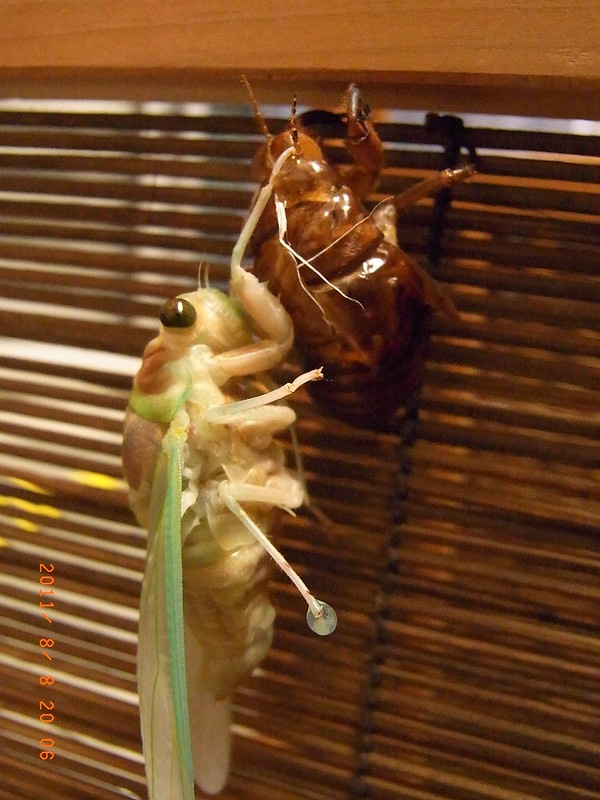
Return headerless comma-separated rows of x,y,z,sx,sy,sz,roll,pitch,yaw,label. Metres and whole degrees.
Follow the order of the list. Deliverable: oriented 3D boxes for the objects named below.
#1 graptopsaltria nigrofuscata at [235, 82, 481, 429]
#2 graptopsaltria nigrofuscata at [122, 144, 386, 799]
0.052,-0.097,0.626,0.078,0.205,0.229,-15,9,-43,graptopsaltria nigrofuscata
-0.028,0.043,0.625,0.181,0.410,0.173,0,10,7,graptopsaltria nigrofuscata
